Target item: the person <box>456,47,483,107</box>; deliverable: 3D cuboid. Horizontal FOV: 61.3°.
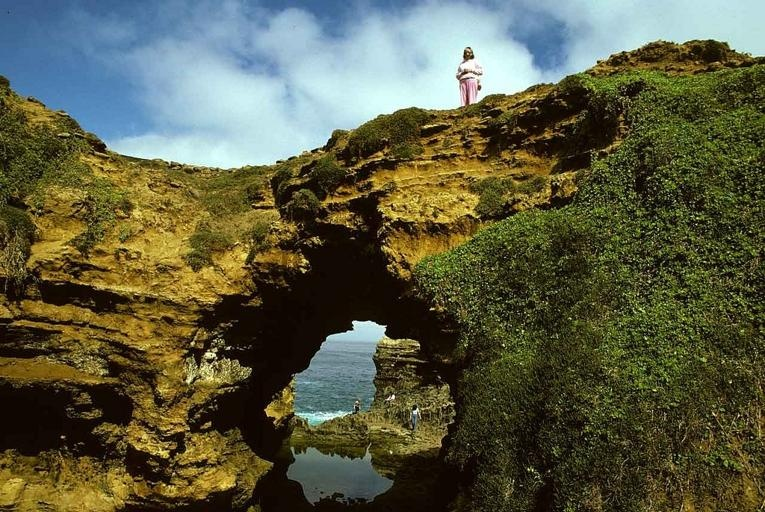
[{"bbox_3d":[4.240,-8.720,31.418,1.063,2.979,1.211,-2,2,4],"label":"person"}]
